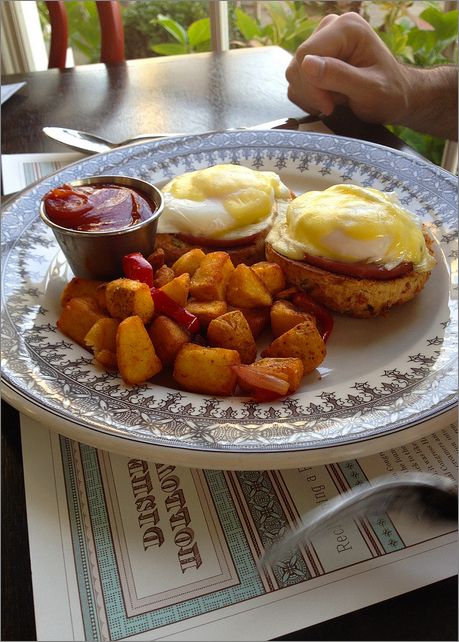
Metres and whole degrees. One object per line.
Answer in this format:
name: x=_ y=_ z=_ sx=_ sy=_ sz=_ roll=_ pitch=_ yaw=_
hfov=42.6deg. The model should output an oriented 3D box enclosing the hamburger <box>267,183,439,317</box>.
hamburger: x=0.410 y=-0.281 z=1.900 sx=0.568 sy=0.237 sz=0.459 roll=5 pitch=47 yaw=8
